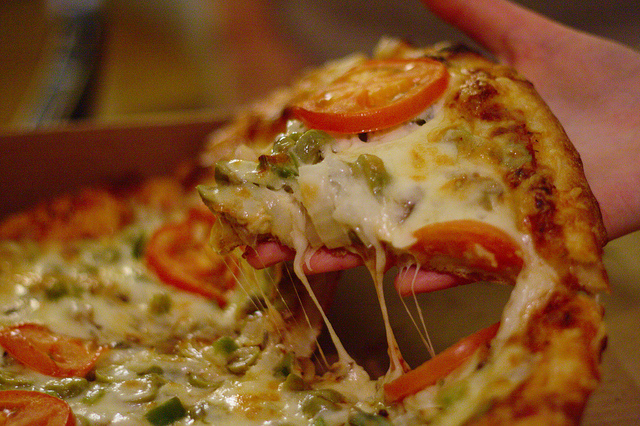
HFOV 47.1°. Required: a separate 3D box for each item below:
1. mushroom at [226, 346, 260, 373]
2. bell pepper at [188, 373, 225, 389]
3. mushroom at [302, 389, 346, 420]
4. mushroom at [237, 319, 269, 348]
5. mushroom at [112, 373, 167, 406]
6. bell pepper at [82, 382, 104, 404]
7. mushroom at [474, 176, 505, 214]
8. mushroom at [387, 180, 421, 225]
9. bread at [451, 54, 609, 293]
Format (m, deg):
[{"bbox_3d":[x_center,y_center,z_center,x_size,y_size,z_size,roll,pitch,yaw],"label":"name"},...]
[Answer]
[{"bbox_3d":[-0.423,0.785,4.024,0.146,0.043,0.114,-39,55,-7],"label":"mushroom"},{"bbox_3d":[-0.624,0.895,3.926,0.191,0.038,0.072,14,63,3],"label":"bell pepper"},{"bbox_3d":[0.017,0.966,3.772,0.226,0.046,0.140,-17,66,-12],"label":"mushroom"},{"bbox_3d":[-0.369,0.664,4.118,0.166,0.044,0.172,9,63,0],"label":"mushroom"},{"bbox_3d":[-0.950,0.931,3.866,0.283,0.050,0.157,-14,65,-11],"label":"mushroom"},{"bbox_3d":[-1.187,0.940,3.860,0.097,0.040,0.120,16,63,4],"label":"bell pepper"},{"bbox_3d":[0.868,-0.072,3.803,0.038,0.155,0.127,-25,77,22],"label":"mushroom"},{"bbox_3d":[0.423,-0.055,3.760,0.121,0.081,0.222,29,65,11],"label":"mushroom"},{"bbox_3d":[1.246,-0.208,3.880,0.309,0.199,1.325,-15,66,-11],"label":"bread"}]
